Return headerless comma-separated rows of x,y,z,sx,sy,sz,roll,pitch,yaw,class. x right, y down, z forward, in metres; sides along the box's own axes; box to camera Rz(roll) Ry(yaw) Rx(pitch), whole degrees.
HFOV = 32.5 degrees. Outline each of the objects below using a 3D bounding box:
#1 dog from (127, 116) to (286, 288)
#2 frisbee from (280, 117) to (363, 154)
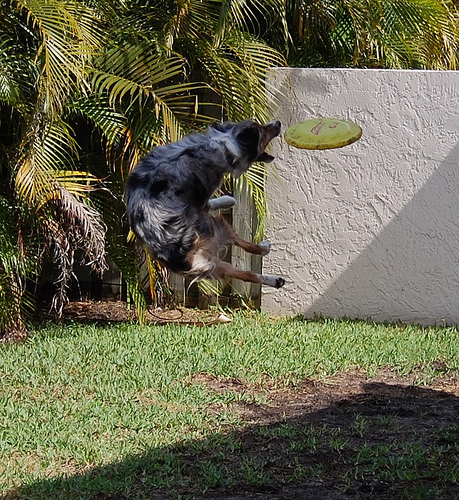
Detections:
-0.075,-0.200,3.477,0.677,0.742,0.399,-9,15,-38,dog
0.505,-0.658,4.420,0.370,0.162,0.583,0,11,-6,frisbee
